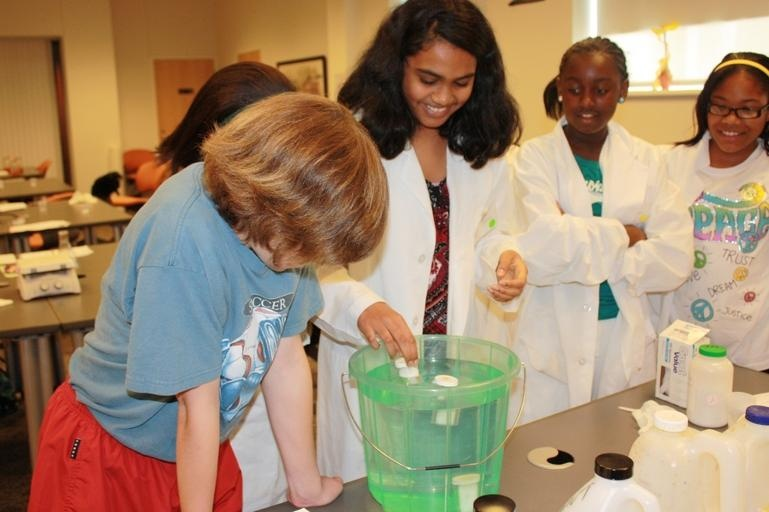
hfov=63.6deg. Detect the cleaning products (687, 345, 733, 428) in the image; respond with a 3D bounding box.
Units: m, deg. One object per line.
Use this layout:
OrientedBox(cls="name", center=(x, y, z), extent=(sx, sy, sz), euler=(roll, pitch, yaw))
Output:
OrientedBox(cls="cleaning products", center=(1.031, 0.412, 1.964), extent=(0.131, 0.242, 0.133), euler=(3, 10, 27))
